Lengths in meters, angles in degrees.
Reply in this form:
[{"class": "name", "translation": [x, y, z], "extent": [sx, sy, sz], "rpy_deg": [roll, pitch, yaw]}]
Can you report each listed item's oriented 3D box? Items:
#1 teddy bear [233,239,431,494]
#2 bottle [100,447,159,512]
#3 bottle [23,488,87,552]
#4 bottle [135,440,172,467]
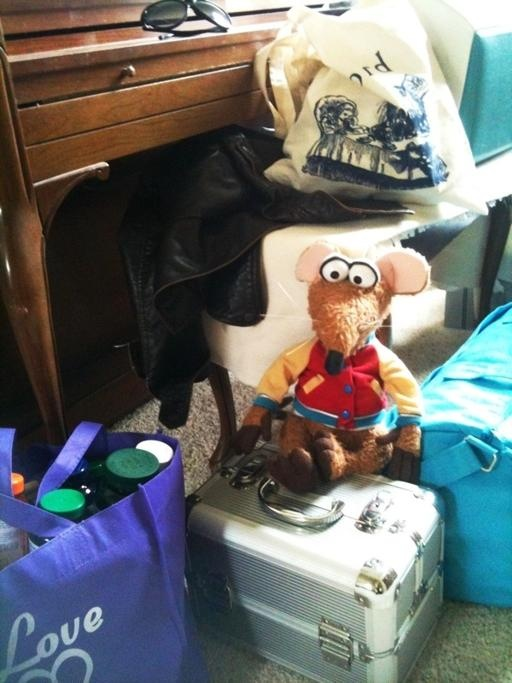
[{"class": "teddy bear", "translation": [0.105, 0.038, 0.836], "extent": [0.298, 0.379, 0.254], "rpy_deg": [7, 24, 13]}, {"class": "bottle", "translation": [-0.145, 0.155, 0.671], "extent": [0.058, 0.051, 0.057], "rpy_deg": [19, 32, 19]}, {"class": "bottle", "translation": [-0.198, 0.176, 0.591], "extent": [0.056, 0.053, 0.055], "rpy_deg": [19, 25, 36]}, {"class": "bottle", "translation": [-0.121, 0.134, 0.699], "extent": [0.029, 0.012, 0.029], "rpy_deg": [10, 38, -8]}]
